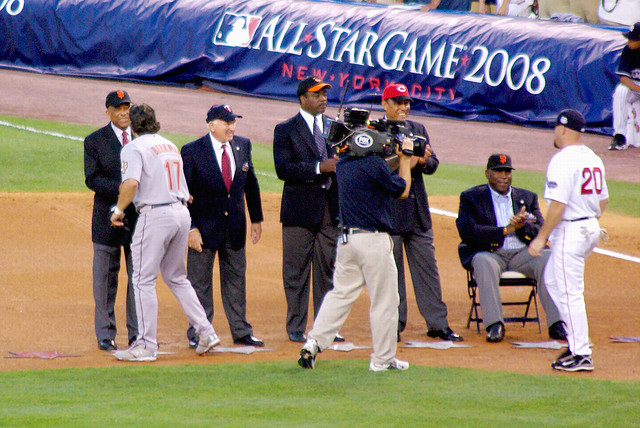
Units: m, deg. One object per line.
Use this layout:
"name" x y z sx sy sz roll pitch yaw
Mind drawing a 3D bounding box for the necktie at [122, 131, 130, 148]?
"necktie" -3.152 -1.197 21.174 0.077 0.315 0.049 4 -21 -5

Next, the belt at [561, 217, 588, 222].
"belt" 3.942 0.093 20.214 0.465 0.059 0.051 -2 -4 -4

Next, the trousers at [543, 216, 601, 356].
"trousers" 3.881 1.095 20.278 0.798 2.098 0.465 2 4 11

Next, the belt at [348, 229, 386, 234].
"belt" 0.665 0.273 20.043 0.332 0.072 0.057 1 4 -2

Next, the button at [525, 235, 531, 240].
"button" 3.485 0.402 21.989 0.075 0.069 0.018 0 3 3

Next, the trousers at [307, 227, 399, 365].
"trousers" 0.587 1.241 20.104 1.229 2.063 0.354 2 4 4

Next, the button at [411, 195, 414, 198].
"button" 1.519 -0.273 21.455 0.047 0.040 0.016 -2 5 -35

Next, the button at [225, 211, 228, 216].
"button" -1.520 0.004 21.221 0.057 0.071 0.024 -4 0 -3

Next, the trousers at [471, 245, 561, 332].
"trousers" 3.115 1.367 22.292 1.433 1.775 1.352 -2 -12 -3

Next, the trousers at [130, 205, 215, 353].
"trousers" -2.405 1.018 20.599 1.130 2.299 0.293 1 4 -12

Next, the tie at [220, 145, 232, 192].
"tie" -1.518 -0.743 21.246 0.173 0.700 0.086 0 4 -14
